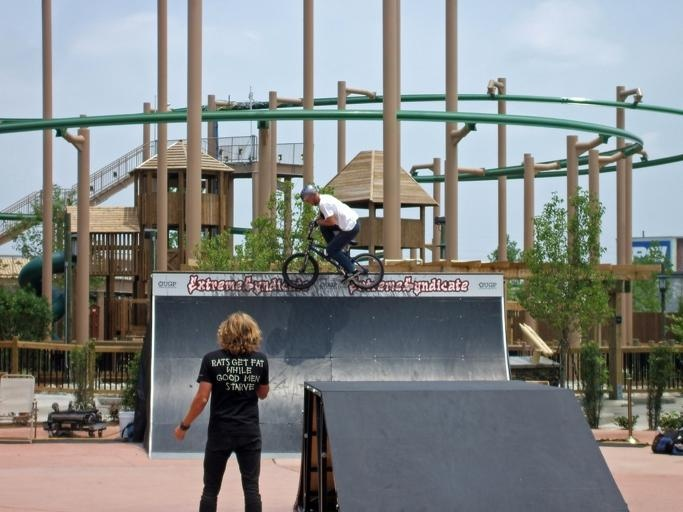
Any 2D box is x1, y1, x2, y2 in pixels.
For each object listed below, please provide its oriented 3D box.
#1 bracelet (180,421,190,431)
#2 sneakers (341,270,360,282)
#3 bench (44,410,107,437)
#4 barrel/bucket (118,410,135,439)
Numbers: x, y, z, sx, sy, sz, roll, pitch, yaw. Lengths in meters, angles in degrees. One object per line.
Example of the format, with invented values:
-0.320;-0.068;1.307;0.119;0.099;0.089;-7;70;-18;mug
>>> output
-3.409;3.728;30.622;0.204;0.156;0.208;-7;-13;44;bracelet
0.300;0.565;37.828;0.562;0.236;0.285;-5;-18;8;sneakers
-7.572;4.726;39.673;1.693;0.775;0.928;1;-5;-15;bench
-6.012;4.745;39.224;0.393;0.764;1.016;1;-5;-10;barrel/bucket
